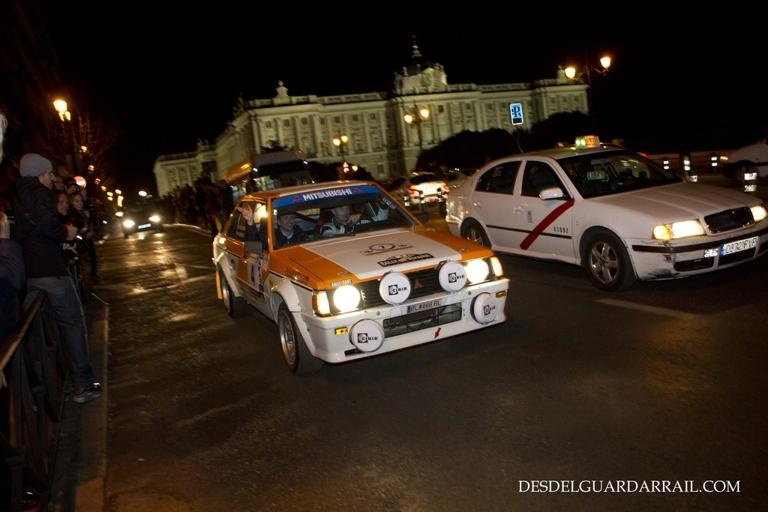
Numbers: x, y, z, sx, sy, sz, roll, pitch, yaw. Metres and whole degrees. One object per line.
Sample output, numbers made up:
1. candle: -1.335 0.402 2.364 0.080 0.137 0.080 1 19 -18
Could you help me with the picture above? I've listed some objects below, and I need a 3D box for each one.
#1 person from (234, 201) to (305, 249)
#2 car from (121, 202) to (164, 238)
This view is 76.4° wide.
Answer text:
1. person: -1.607 -0.446 6.992 0.604 0.528 1.025 -12 17 -39
2. car: -17.048 -2.679 34.160 1.806 1.610 3.121 -8 4 -29
